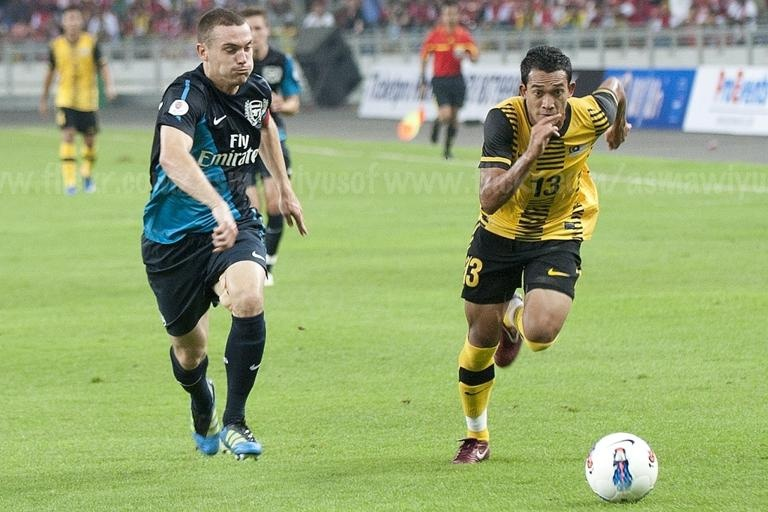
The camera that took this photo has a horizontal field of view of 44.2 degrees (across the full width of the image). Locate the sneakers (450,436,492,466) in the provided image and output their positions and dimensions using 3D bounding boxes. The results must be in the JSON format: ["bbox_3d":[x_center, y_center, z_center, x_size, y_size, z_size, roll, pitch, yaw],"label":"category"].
[{"bbox_3d":[0.545,1.232,5.992,0.124,0.107,0.243,-8,-9,40],"label":"sneakers"}]

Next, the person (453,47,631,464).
[{"bbox_3d":[0.941,-0.050,6.191,0.696,2.578,1.371,12,15,43],"label":"person"}]

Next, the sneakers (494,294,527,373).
[{"bbox_3d":[0.906,0.554,6.810,0.201,0.543,0.246,8,26,1],"label":"sneakers"}]

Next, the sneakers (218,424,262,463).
[{"bbox_3d":[-0.877,1.136,5.780,0.175,0.209,0.260,-6,13,-33],"label":"sneakers"}]

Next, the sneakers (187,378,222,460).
[{"bbox_3d":[-1.115,1.047,6.151,0.175,0.482,0.227,-7,5,-2],"label":"sneakers"}]

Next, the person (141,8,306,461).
[{"bbox_3d":[-0.963,-0.118,5.943,0.881,2.809,0.884,-7,14,-35],"label":"person"}]

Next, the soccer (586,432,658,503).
[{"bbox_3d":[1.411,1.249,5.644,0.449,0.401,0.418,-5,-18,10],"label":"soccer"}]
